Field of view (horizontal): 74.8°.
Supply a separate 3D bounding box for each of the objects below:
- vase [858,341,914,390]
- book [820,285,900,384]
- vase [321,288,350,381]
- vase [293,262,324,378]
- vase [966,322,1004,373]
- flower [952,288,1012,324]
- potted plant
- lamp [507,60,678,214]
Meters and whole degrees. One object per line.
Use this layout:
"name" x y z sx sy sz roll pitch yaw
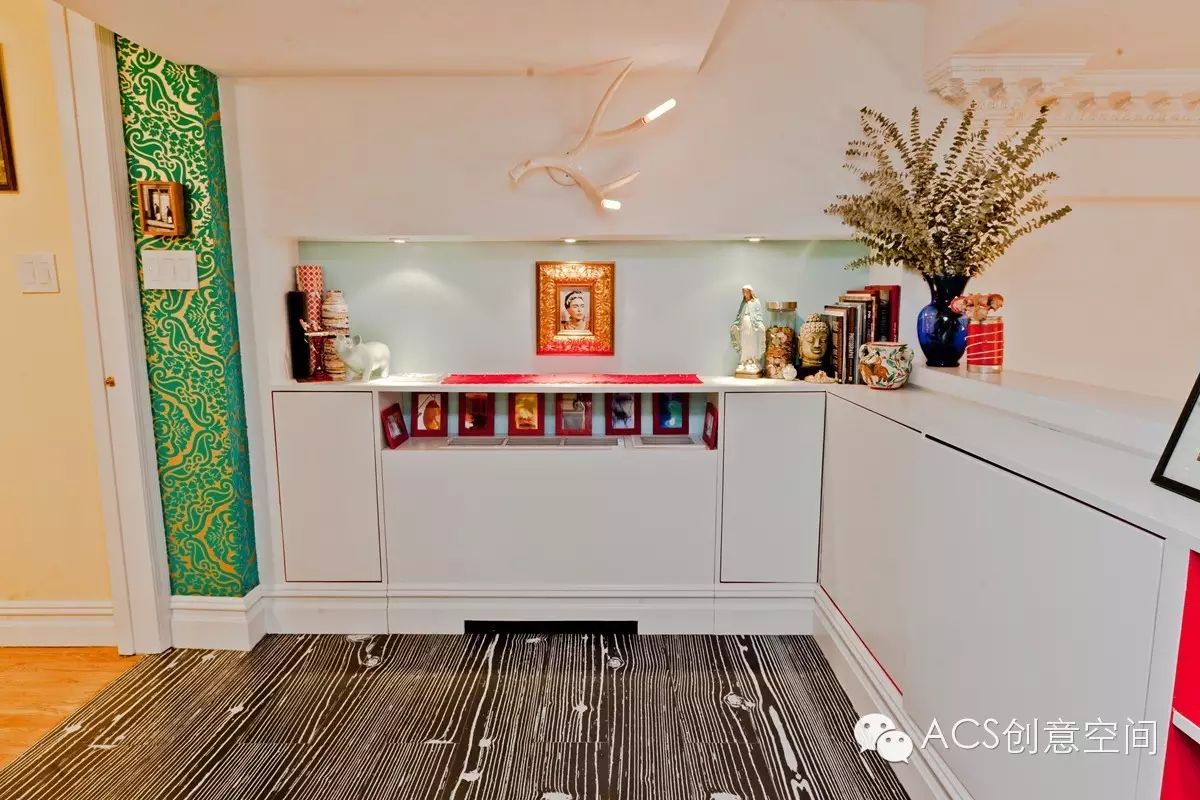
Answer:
"vase" 1.191 -0.153 3.361 0.192 0.186 0.226 -5 13 -20
"book" 1.108 -0.310 3.635 0.360 0.479 0.491 -1 3 -2
"vase" -1.234 -0.269 3.570 0.132 0.133 0.497 4 46 -20
"vase" -1.322 -0.345 3.540 0.117 0.508 0.124 0 9 -3
"vase" 1.548 -0.204 3.224 0.169 0.185 0.175 -1 7 14
"flower" 1.535 -0.364 3.192 0.214 0.113 0.211 -1 0 15
"potted plant" 1.459 -0.691 3.343 0.855 1.067 0.952 -3 6 -37
"lamp" -0.028 -1.062 3.421 0.649 0.548 0.205 -28 11 4
